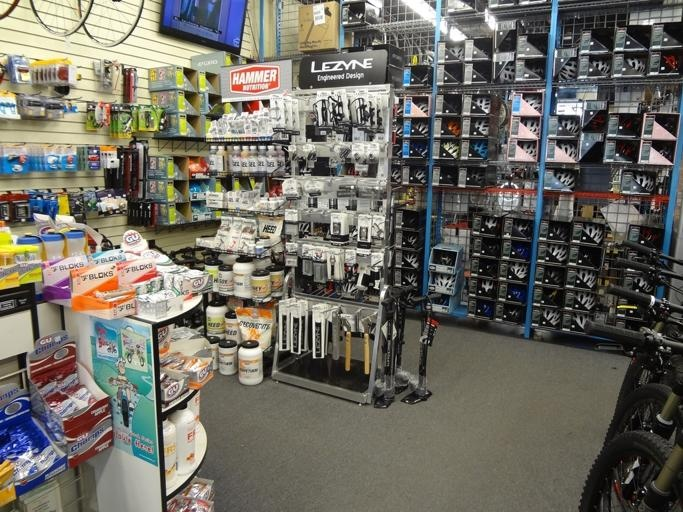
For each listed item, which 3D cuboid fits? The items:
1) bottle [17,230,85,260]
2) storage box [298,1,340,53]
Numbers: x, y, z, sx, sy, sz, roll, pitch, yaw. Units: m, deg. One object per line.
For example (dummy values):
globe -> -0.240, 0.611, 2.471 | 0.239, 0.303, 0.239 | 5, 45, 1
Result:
bottle -> -1.778, -0.066, 3.159 | 0.219, 0.157, 0.393 | 12, 16, 43
storage box -> -0.288, -2.937, 6.620 | 0.562, 0.577, 0.153 | 6, 12, 26
